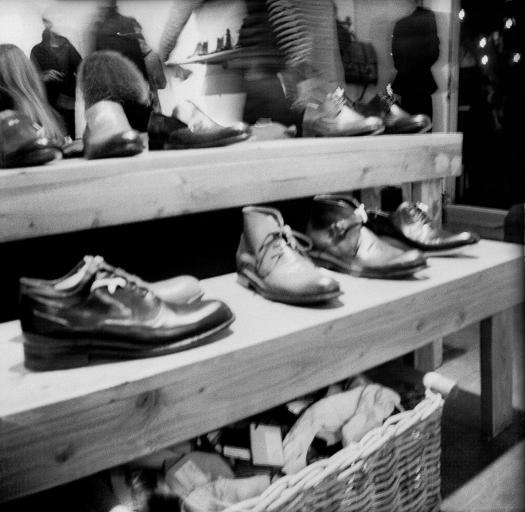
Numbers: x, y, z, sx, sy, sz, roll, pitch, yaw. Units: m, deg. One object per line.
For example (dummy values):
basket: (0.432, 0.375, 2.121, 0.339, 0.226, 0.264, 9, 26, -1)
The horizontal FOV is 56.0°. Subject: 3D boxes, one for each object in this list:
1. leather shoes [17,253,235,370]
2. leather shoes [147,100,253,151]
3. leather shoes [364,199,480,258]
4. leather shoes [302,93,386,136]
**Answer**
leather shoes: (-0.176, 0.028, 0.605, 0.203, 0.107, 0.142, -4, 12, -28)
leather shoes: (-0.099, -0.213, 0.826, 0.172, 0.080, 0.067, -3, 11, 2)
leather shoes: (0.300, -0.058, 1.045, 0.264, 0.117, 0.098, 9, 10, 10)
leather shoes: (0.173, -0.281, 0.974, 0.178, 0.089, 0.065, -3, 23, -5)
